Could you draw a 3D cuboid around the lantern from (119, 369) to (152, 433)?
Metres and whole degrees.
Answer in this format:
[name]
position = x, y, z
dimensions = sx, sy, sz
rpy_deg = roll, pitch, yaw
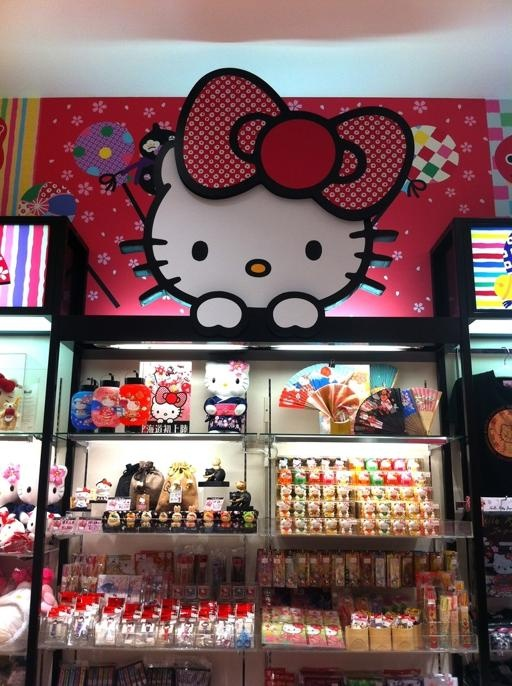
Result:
[lantern]
position = -0.569, 0.262, 2.620
dimensions = 0.155, 0.247, 0.151
rpy_deg = 1, -7, 15
